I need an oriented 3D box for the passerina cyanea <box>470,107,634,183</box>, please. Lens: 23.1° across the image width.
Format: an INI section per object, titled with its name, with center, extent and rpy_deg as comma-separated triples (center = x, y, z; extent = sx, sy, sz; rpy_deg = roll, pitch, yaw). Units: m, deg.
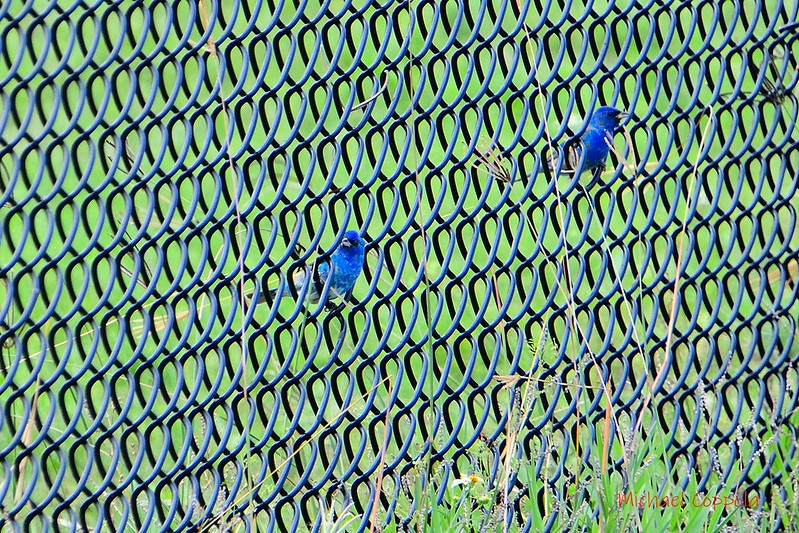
[passerina cyanea]
center = 0.789, -0.552, 8.501
extent = 0.161, 0.586, 0.328
rpy_deg = -6, -84, -31
